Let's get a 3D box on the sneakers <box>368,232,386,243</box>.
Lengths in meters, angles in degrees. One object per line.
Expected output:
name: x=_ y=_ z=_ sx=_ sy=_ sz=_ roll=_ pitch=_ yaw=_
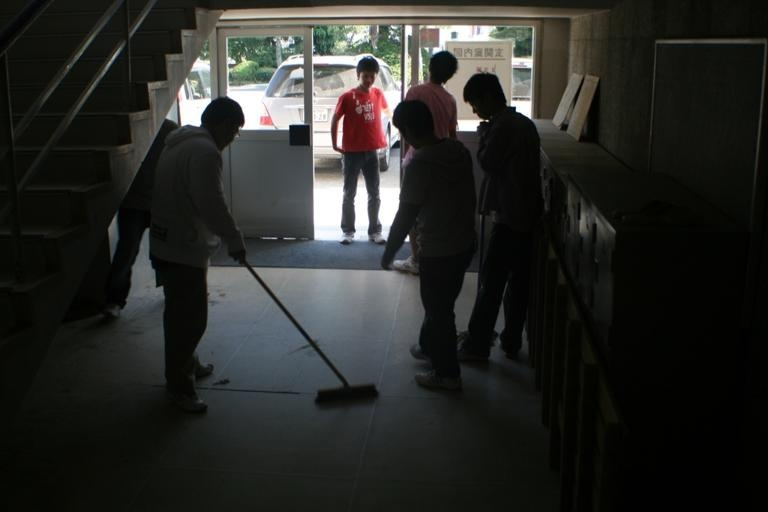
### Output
sneakers: x=-0.068 y=-0.218 z=6.802 sx=0.099 sy=0.079 sz=0.194 roll=-10 pitch=9 yaw=-35

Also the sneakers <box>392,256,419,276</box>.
sneakers: x=0.262 y=0.100 z=6.030 sx=0.331 sy=0.150 sz=0.123 roll=10 pitch=12 yaw=26

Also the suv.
suv: x=-0.707 y=-1.567 z=8.449 sx=1.911 sy=1.706 sz=3.481 roll=-2 pitch=-1 yaw=5

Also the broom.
broom: x=-0.481 y=0.555 z=3.610 sx=0.588 sy=1.182 sz=0.128 roll=-12 pitch=39 yaw=30

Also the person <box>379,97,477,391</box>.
person: x=0.298 y=-0.021 z=3.674 sx=0.574 sy=1.874 sz=0.295 roll=3 pitch=14 yaw=9

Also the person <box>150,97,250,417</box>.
person: x=-1.154 y=0.004 z=3.624 sx=0.594 sy=1.928 sz=0.398 roll=-6 pitch=15 yaw=-23
